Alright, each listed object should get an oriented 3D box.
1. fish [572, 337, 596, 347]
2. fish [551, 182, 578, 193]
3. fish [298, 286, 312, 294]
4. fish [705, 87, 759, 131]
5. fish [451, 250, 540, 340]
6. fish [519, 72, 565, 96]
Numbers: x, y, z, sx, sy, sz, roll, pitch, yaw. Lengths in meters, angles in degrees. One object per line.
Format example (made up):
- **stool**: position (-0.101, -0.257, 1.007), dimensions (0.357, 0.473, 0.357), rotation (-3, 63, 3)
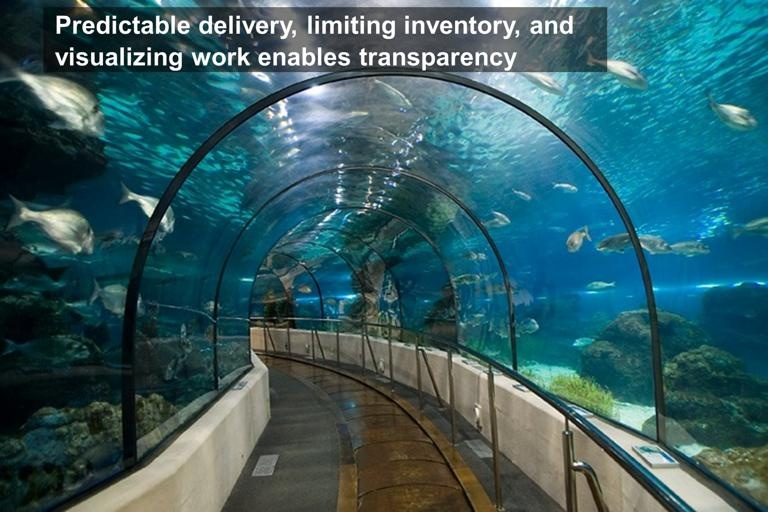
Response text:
- **fish**: position (3.136, 1.355, 7.729), dimensions (0.235, 0.052, 0.184), rotation (-4, 16, 14)
- **fish**: position (2.878, -1.084, 7.826), dimensions (0.348, 0.174, 0.184), rotation (-9, -15, 21)
- **fish**: position (-2.851, 1.137, 17.109), dimensions (0.403, 0.271, 0.117), rotation (-9, 8, 20)
- **fish**: position (3.625, -1.528, 5.130), dimensions (0.182, 0.545, 0.322), rotation (-1, -15, -14)
- **fish**: position (2.044, 0.720, 9.554), dimensions (1.365, 1.754, 0.799), rotation (-18, -20, 42)
- **fish**: position (1.965, -2.114, 6.095), dimensions (0.649, 0.176, 0.201), rotation (19, -52, -14)
